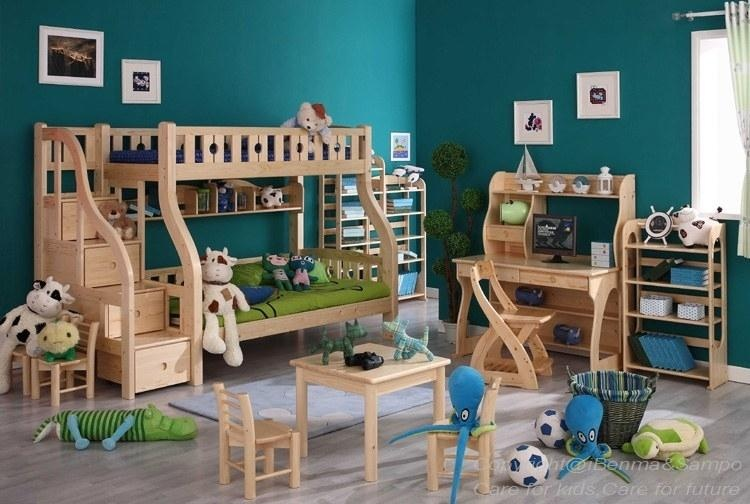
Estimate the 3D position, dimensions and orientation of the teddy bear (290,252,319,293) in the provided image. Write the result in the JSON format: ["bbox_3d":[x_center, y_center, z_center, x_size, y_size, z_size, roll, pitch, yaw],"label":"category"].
[{"bbox_3d":[-0.823,0.235,6.740,0.355,0.465,0.199,6,-34,-16],"label":"teddy bear"}]

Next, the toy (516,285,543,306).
[{"bbox_3d":[1.566,0.446,6.335,0.260,0.147,0.188,6,8,33],"label":"toy"}]

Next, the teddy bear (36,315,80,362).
[{"bbox_3d":[-2.629,0.736,5.127,0.360,0.343,0.349,-5,-3,-33],"label":"teddy bear"}]

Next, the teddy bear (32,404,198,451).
[{"bbox_3d":[-1.811,1.226,4.381,0.813,0.177,0.441,1,-1,-6],"label":"teddy bear"}]

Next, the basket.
[{"bbox_3d":[1.658,1.036,4.374,0.576,0.487,0.561,1,5,3],"label":"basket"}]

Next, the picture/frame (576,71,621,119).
[{"bbox_3d":[2.182,-1.542,5.981,0.556,0.544,0.040,0,3,34],"label":"picture/frame"}]

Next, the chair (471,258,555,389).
[{"bbox_3d":[1.284,0.636,5.841,0.730,1.097,1.155,-1,11,15],"label":"chair"}]

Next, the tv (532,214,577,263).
[{"bbox_3d":[1.737,-0.135,5.964,0.522,0.490,0.185,1,1,33],"label":"tv"}]

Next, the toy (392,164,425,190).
[{"bbox_3d":[0.477,-1.038,8.391,0.365,0.229,0.366,-14,19,-42],"label":"toy"}]

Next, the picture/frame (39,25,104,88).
[{"bbox_3d":[-2.933,-1.886,5.880,0.730,0.625,0.056,-1,4,-35],"label":"picture/frame"}]

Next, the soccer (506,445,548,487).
[{"bbox_3d":[0.950,1.341,3.834,0.249,0.216,0.200,-1,11,13],"label":"soccer"}]

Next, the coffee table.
[{"bbox_3d":[-0.058,0.981,4.180,0.878,0.614,0.913,2,4,41],"label":"coffee table"}]

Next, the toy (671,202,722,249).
[{"bbox_3d":[2.769,-0.215,5.351,0.428,0.337,0.281,1,8,31],"label":"toy"}]

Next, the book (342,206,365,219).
[{"bbox_3d":[-0.300,-0.511,7.923,0.253,0.112,0.185,-4,7,-43],"label":"book"}]

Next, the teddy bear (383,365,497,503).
[{"bbox_3d":[0.485,1.073,3.745,0.363,0.721,0.386,-9,12,-28],"label":"teddy bear"}]

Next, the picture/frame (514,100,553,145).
[{"bbox_3d":[1.644,-1.350,6.352,0.545,0.535,0.042,1,0,35],"label":"picture/frame"}]

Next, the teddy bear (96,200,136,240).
[{"bbox_3d":[-2.367,-0.329,5.822,0.353,0.393,0.440,5,7,35],"label":"teddy bear"}]

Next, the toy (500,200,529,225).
[{"bbox_3d":[1.401,-0.408,6.281,0.308,0.227,0.218,0,2,5],"label":"toy"}]

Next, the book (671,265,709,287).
[{"bbox_3d":[2.726,0.215,5.382,0.268,0.116,0.179,0,2,-16],"label":"book"}]

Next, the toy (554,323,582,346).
[{"bbox_3d":[1.901,0.825,6.124,0.241,0.160,0.185,6,7,29],"label":"toy"}]

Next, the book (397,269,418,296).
[{"bbox_3d":[0.434,0.417,8.402,0.121,0.324,0.257,7,4,34],"label":"book"}]

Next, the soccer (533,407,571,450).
[{"bbox_3d":[1.223,1.223,4.277,0.254,0.263,0.236,-1,-3,17],"label":"soccer"}]

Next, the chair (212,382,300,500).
[{"bbox_3d":[-0.752,1.124,3.865,0.506,0.659,0.542,-7,11,-19],"label":"chair"}]

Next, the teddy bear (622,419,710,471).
[{"bbox_3d":[1.973,1.282,4.163,0.522,0.202,0.359,-9,12,-29],"label":"teddy bear"}]

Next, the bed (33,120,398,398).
[{"bbox_3d":[-1.607,0.073,5.795,1.287,1.907,2.937,2,4,40],"label":"bed"}]

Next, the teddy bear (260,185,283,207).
[{"bbox_3d":[-1.208,-0.633,7.126,0.283,0.246,0.196,3,-3,-37],"label":"teddy bear"}]

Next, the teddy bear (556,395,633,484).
[{"bbox_3d":[1.416,1.193,4.029,0.443,0.419,0.511,-3,7,21],"label":"teddy bear"}]

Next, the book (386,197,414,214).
[{"bbox_3d":[0.335,-0.638,8.428,0.298,0.131,0.226,-4,8,-42],"label":"book"}]
